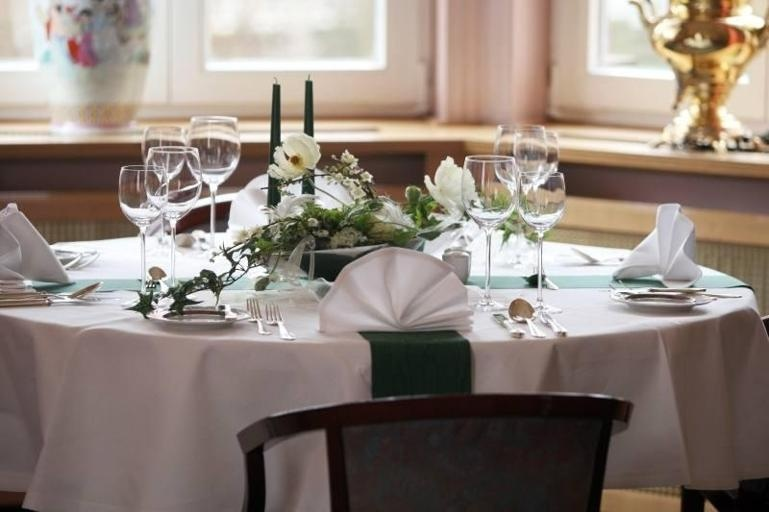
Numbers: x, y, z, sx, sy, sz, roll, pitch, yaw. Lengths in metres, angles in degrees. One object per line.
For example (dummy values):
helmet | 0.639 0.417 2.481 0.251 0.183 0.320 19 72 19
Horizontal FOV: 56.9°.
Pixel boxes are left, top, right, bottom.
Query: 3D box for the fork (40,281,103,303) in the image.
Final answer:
fork | -0.615 0.074 1.415 0.128 0.032 0.036 3 -5 -25

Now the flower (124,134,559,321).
flower | -0.150 -0.061 1.457 0.559 0.265 0.402 -1 -4 -7

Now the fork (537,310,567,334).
fork | 0.306 0.124 1.301 0.016 0.013 0.072 1 12 -16

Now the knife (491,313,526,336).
knife | 0.228 0.126 1.297 0.017 0.012 0.077 -3 10 -10

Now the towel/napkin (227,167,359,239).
towel/napkin | -0.280 -0.127 1.703 0.197 0.088 0.214 -5 12 10

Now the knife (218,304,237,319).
knife | -0.287 0.102 1.310 0.017 0.022 0.054 3 5 4

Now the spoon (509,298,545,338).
spoon | 0.262 0.117 1.302 0.027 0.016 0.095 4 14 -5
